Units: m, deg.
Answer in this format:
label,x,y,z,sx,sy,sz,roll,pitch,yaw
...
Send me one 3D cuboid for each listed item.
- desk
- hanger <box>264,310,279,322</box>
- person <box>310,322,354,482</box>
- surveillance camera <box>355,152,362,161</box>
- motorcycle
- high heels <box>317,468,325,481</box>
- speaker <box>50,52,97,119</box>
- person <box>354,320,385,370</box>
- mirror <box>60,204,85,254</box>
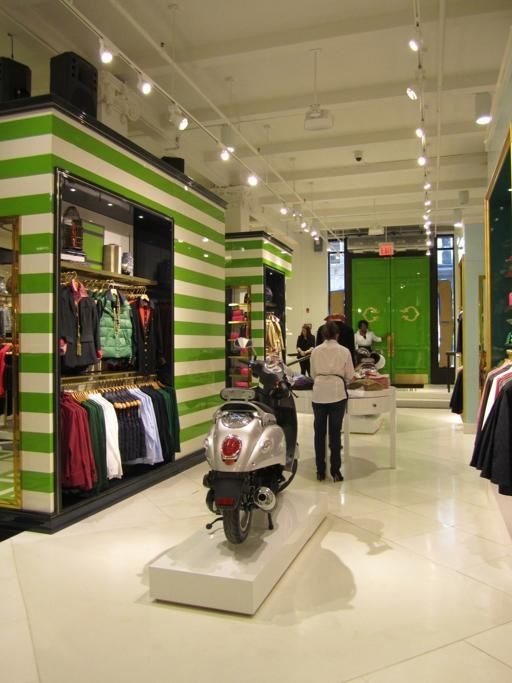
label,x,y,z,sx,sy,sz,roll,pitch,yaw
desk,0.896,0.809,5.271,0.792,0.769,1.054,3,-1,-19
hanger,0.243,-0.448,8.889,0.179,0.087,0.222,-2,-18,4
person,0.681,0.544,4.595,0.379,1.443,0.395,0,-2,6
surveillance camera,1.607,-2.908,7.914,0.085,0.099,0.086,-4,-6,12
motorcycle,-0.021,0.612,2.962,0.502,1.032,1.233,0,-2,4
high heels,0.596,1.219,4.582,0.052,0.049,0.108,1,14,7
speaker,-1.433,-1.940,3.940,0.230,0.484,0.283,1,-3,29
person,2.295,0.204,10.400,0.580,1.304,0.575,-6,31,17
mirror,-1.567,-0.949,4.240,0.199,0.367,0.219,-5,15,-24
